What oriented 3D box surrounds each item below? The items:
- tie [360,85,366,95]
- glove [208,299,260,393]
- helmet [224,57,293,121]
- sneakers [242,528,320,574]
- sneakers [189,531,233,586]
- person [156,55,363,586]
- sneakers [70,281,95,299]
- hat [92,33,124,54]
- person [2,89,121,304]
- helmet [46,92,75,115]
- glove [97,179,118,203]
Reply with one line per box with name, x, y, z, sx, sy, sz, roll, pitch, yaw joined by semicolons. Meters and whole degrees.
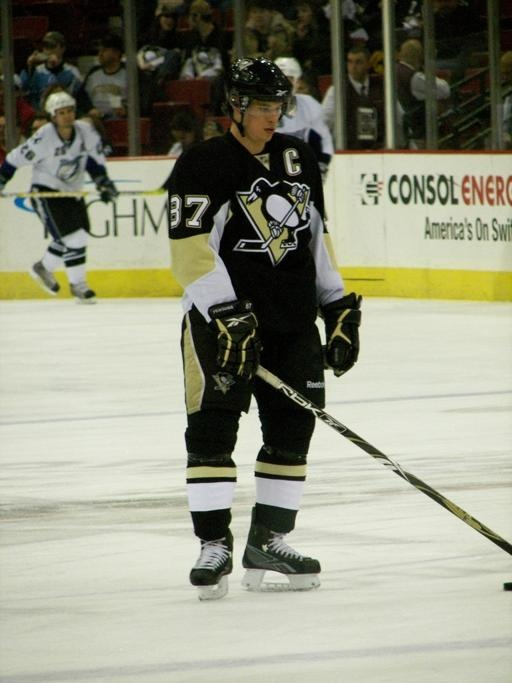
tie;0.857;-2.019;7.905;0.048;0.066;0.021;3;-3;11
glove;-0.036;0.008;1.972;0.106;0.181;0.090;-4;8;-13
helmet;0.004;-0.537;2.054;0.134;0.131;0.159;-2;7;-2
sneakers;0.057;0.434;2.074;0.187;0.091;0.064;-3;-7;32
sneakers;-0.089;0.441;1.993;0.074;0.084;0.132;-2;7;5
person;0.019;-0.039;2.084;0.518;1.129;0.340;-7;9;-26
sneakers;-1.387;-0.403;7.823;0.190;0.153;0.116;-2;8;-1
hat;-1.262;-2.578;8.553;0.217;0.165;0.171;15;10;43
person;-1.644;-1.184;8.031;0.892;1.673;0.707;-2;8;6
helmet;-1.614;-1.955;8.092;0.229;0.225;0.239;-4;7;-13
glove;-1.245;-1.260;8.238;0.182;0.194;0.194;-1;36;-21
